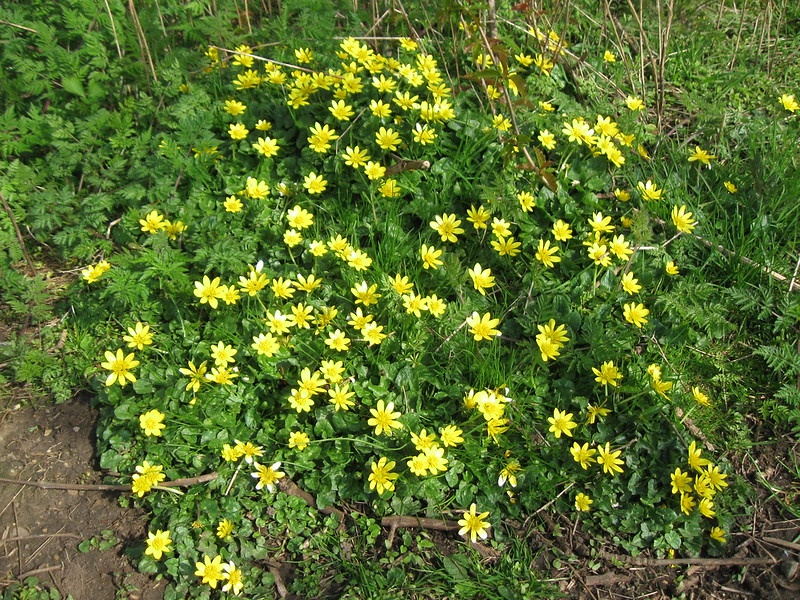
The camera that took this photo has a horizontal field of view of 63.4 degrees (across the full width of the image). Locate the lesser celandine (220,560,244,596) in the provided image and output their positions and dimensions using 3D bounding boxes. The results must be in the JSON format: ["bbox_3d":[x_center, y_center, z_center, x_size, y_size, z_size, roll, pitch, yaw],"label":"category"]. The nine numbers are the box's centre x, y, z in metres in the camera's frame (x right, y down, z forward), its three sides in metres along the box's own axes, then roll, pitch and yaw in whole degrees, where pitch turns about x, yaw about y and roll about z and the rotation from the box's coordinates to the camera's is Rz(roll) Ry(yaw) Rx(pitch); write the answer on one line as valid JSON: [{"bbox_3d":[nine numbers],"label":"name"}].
[{"bbox_3d":[-0.821,1.364,3.178,0.095,0.116,0.131,1,49,-1],"label":"lesser celandine"}]
